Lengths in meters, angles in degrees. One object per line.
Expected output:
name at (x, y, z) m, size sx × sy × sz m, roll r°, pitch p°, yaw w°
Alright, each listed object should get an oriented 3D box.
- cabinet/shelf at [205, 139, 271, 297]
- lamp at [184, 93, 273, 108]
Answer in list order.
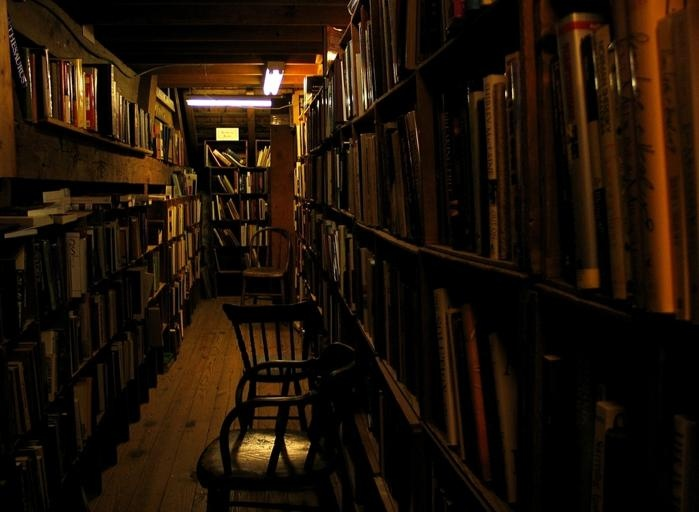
cabinet/shelf at (-1.411, -0.632, 8.083) m, size 0.780 × 1.993 × 0.277 m, roll -1°, pitch -51°, yaw -11°
lamp at (-1.230, -1.578, 6.392) m, size 0.868 × 0.158 × 0.065 m, roll -7°, pitch -22°, yaw -25°
